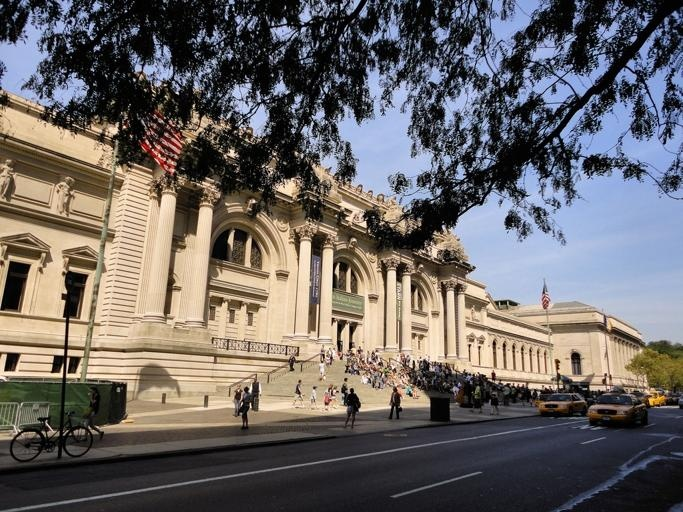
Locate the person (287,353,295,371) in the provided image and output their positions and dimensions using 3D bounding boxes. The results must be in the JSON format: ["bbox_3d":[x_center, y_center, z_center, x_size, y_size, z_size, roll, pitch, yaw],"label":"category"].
[{"bbox_3d":[-4.331,9.060,34.979,0.608,1.518,1.882,3,-17,-8],"label":"person"}]

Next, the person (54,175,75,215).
[{"bbox_3d":[-19.057,-4.157,27.736,1.075,2.558,0.796,13,-21,-34],"label":"person"}]

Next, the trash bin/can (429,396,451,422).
[{"bbox_3d":[5.687,8.789,23.782,1.230,1.368,1.229,5,-9,-21],"label":"trash bin/can"}]
